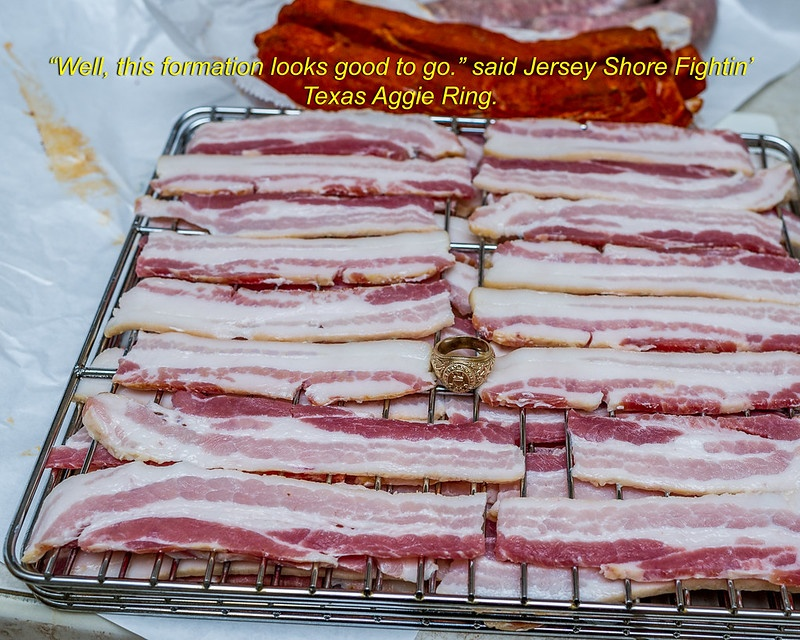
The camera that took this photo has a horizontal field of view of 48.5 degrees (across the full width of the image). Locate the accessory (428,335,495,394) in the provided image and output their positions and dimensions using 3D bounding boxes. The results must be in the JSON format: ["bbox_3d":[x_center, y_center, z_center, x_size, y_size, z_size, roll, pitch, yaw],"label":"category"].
[{"bbox_3d":[0.187,0.135,2.774,0.209,0.099,0.193,2,23,2],"label":"accessory"}]
